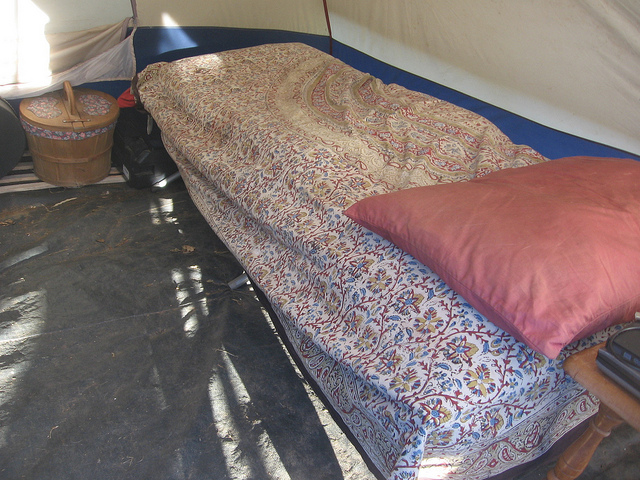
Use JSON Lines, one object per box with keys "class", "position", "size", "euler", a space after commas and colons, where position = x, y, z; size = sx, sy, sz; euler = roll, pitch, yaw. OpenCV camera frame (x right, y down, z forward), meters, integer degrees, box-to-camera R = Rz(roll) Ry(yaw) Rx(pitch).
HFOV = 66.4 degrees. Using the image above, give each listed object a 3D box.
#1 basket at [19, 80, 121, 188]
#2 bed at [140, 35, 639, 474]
{"class": "basket", "position": [-1.452, -0.639, 2.826], "size": [0.561, 0.464, 0.531], "euler": [-3, 42, -23]}
{"class": "bed", "position": [0.004, -0.018, 2.234], "size": [1.462, 0.590, 2.100], "euler": [-22, 54, -25]}
